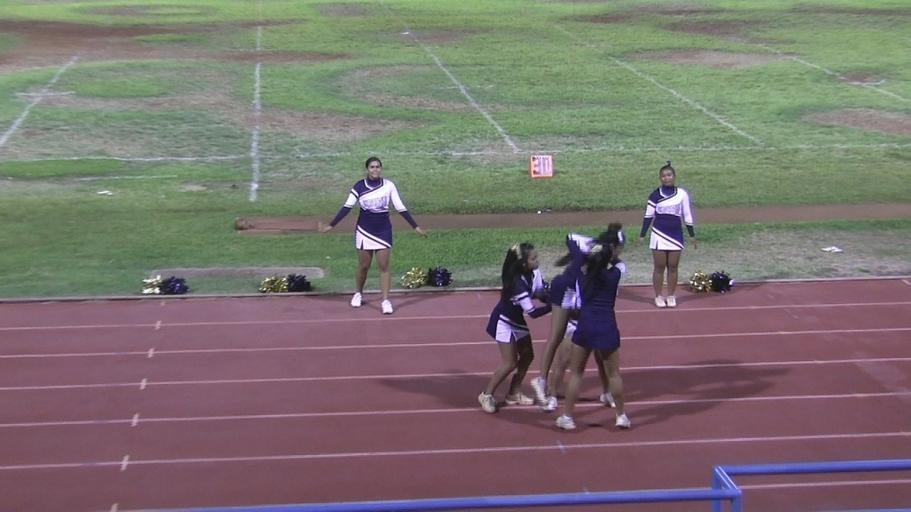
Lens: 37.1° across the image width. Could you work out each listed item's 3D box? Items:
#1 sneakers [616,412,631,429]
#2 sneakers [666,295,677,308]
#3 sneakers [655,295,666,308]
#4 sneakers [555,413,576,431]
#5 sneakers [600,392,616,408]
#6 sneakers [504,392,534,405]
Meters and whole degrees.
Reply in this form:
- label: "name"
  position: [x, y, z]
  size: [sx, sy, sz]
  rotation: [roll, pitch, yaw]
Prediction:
- label: "sneakers"
  position: [3.783, 3.575, 30.287]
  size: [0.240, 0.184, 0.459]
  rotation: [2, 16, 19]
- label: "sneakers"
  position: [5.339, 1.029, 33.175]
  size: [0.197, 0.113, 0.319]
  rotation: [-1, 14, 9]
- label: "sneakers"
  position: [5.063, 1.039, 33.184]
  size: [0.219, 0.122, 0.340]
  rotation: [-4, 22, 6]
- label: "sneakers"
  position: [2.490, 3.611, 30.255]
  size: [0.496, 0.228, 0.245]
  rotation: [7, 28, 11]
- label: "sneakers"
  position: [3.416, 3.160, 30.736]
  size: [0.177, 0.232, 0.464]
  rotation: [-25, 32, -24]
- label: "sneakers"
  position: [1.493, 3.145, 30.813]
  size: [0.578, 0.196, 0.283]
  rotation: [-2, 7, 1]
